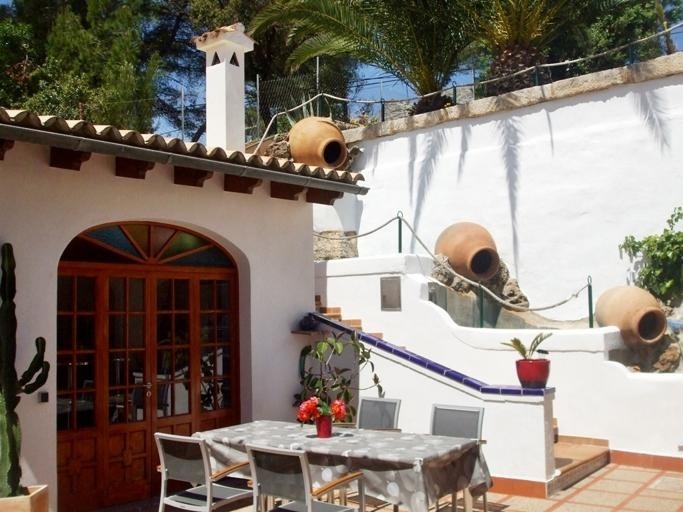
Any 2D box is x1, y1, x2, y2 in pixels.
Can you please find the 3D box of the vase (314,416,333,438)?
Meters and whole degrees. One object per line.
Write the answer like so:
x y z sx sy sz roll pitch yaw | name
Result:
-0.188 2.035 8.519 0.205 0.257 0.236 -2 -16 3 | vase

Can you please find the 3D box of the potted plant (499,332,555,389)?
2.615 1.427 9.729 0.540 0.657 0.570 -6 -8 -14 | potted plant

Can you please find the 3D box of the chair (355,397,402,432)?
0.525 2.060 9.548 0.437 0.736 0.449 -2 -9 25 | chair
